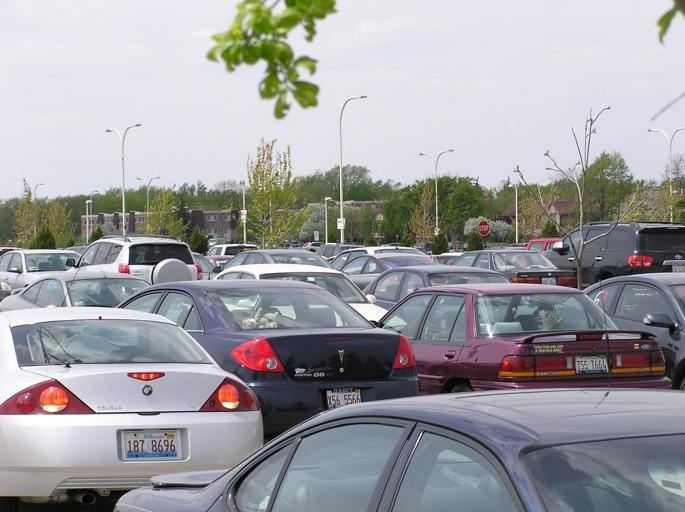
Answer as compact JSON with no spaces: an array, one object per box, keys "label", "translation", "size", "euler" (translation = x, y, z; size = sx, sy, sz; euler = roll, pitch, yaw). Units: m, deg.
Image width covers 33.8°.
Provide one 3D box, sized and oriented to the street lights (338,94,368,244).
[{"label":"street lights","translation":[0.309,-2.889,32.062],"size":[0.893,4.238,0.174],"euler":[5,-30,-6]}]
